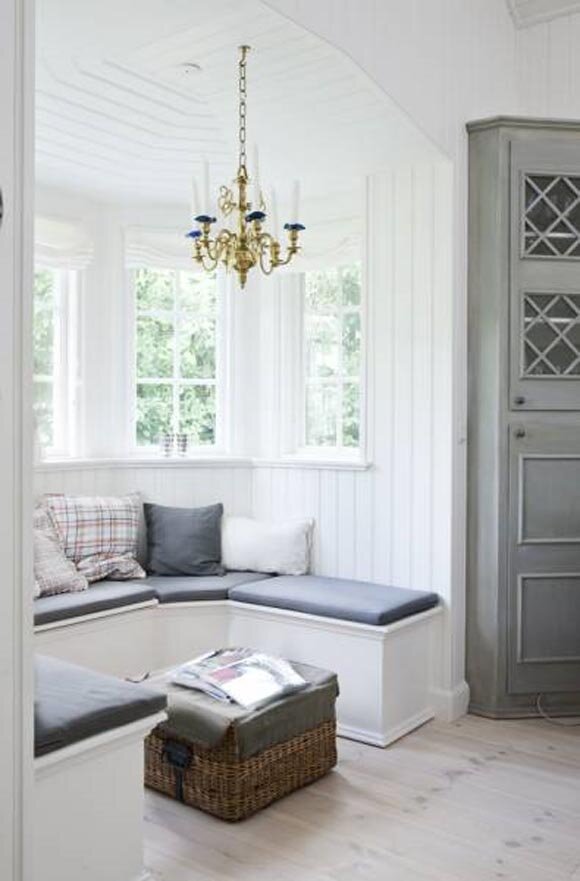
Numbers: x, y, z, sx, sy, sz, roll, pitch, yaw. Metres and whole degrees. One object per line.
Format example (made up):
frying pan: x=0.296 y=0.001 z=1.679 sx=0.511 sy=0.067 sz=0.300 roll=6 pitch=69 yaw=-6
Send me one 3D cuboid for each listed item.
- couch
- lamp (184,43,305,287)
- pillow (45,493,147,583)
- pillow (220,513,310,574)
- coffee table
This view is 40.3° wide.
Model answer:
couch: x=-0.114 y=0.872 z=3.279 sx=1.093 sy=0.729 sz=1.143 roll=1 pitch=0 yaw=39
lamp: x=-0.177 y=-1.080 z=3.002 sx=0.432 sy=0.854 sz=0.433 roll=-4 pitch=13 yaw=-20
pillow: x=-0.921 y=0.469 z=3.674 sx=0.453 sy=0.427 sz=0.158 roll=1 pitch=-17 yaw=-17
pillow: x=-0.148 y=0.520 z=3.936 sx=0.452 sy=0.296 sz=0.158 roll=1 pitch=-2 yaw=18
coffee table: x=-0.177 y=0.948 z=2.646 sx=0.569 sy=0.335 sz=0.595 roll=1 pitch=2 yaw=29
